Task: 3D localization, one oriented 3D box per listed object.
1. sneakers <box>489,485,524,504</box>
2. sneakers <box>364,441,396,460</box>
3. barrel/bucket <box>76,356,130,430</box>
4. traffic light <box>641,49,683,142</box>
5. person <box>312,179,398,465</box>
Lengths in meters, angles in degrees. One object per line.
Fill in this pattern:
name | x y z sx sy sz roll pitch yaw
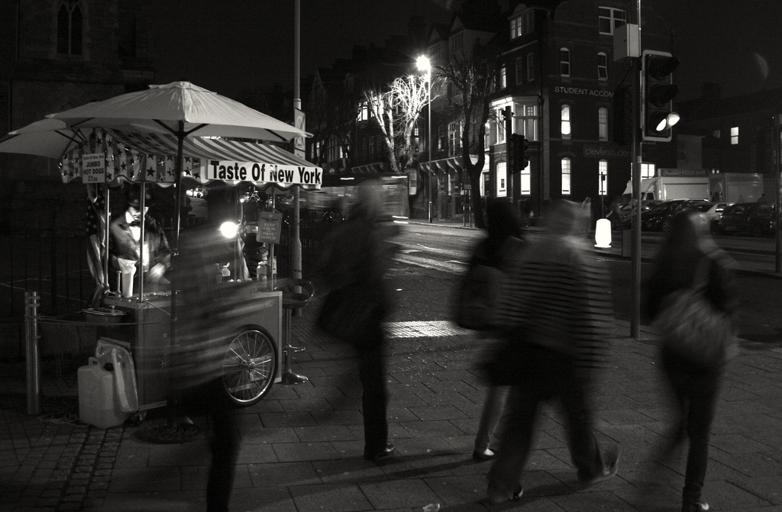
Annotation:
sneakers | 1.144 2.324 8.092 0.382 0.153 0.136 -6 7 -26
sneakers | -0.131 2.125 8.994 0.285 0.185 0.166 -5 7 -26
barrel/bucket | -3.423 1.609 9.705 0.611 0.758 0.230 -2 5 14
traffic light | 4.068 -2.435 12.591 0.535 1.395 0.657 -1 6 20
person | -0.326 0.710 8.890 0.846 2.955 0.384 -3 5 -1
